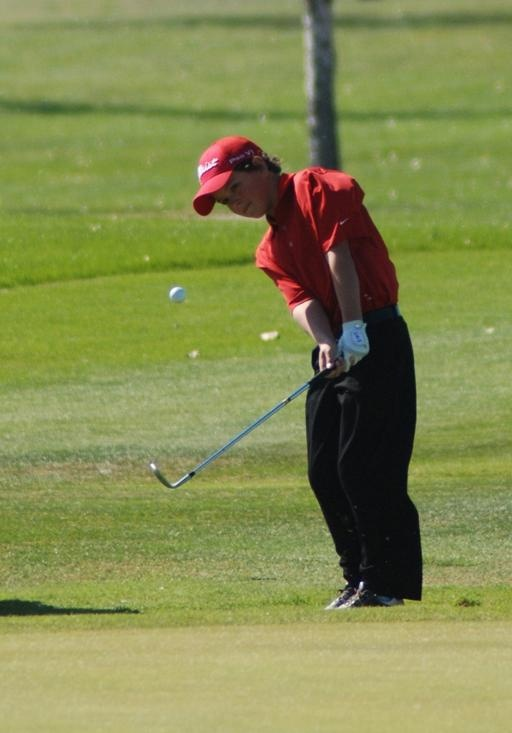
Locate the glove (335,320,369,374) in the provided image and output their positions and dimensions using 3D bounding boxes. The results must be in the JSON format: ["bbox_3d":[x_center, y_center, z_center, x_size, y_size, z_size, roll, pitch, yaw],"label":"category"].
[{"bbox_3d":[0.299,-0.064,5.533,0.120,0.129,0.056,-14,-8,19],"label":"glove"}]

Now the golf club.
[{"bbox_3d":[-0.058,0.247,7.481,0.903,0.081,0.142,-31,-25,12],"label":"golf club"}]

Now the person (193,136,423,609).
[{"bbox_3d":[0.217,0.016,5.720,0.581,1.504,0.340,-3,6,17],"label":"person"}]

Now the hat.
[{"bbox_3d":[-0.090,-0.599,5.655,0.230,0.234,0.187,-3,5,11],"label":"hat"}]

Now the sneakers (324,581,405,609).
[{"bbox_3d":[0.346,0.729,5.760,0.284,0.099,0.090,0,-5,-4],"label":"sneakers"}]
